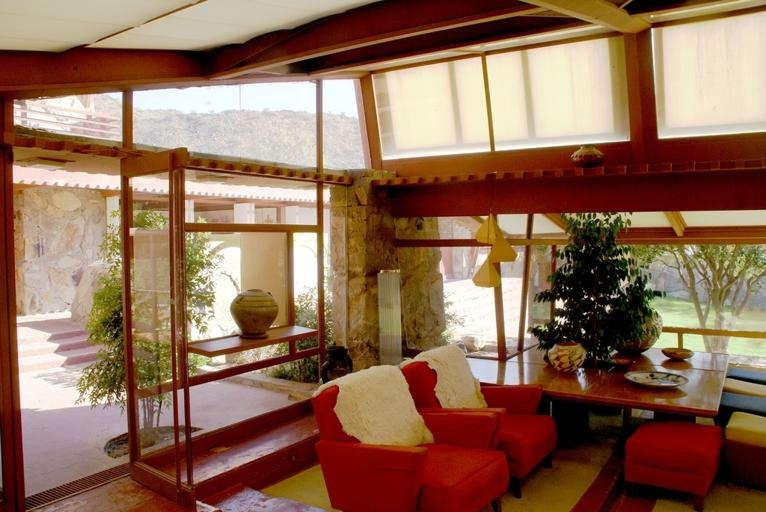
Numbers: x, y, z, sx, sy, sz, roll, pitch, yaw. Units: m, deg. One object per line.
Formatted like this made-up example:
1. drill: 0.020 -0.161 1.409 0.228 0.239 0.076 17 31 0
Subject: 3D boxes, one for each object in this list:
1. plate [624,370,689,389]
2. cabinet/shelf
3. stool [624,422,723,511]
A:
1. plate: 3.304 1.495 6.742 0.643 0.098 0.545 -1 12 -6
2. cabinet/shelf: -1.767 0.616 6.697 1.536 3.746 2.675 9 16 37
3. stool: 3.150 2.142 6.070 0.919 0.683 0.869 -2 -6 31
